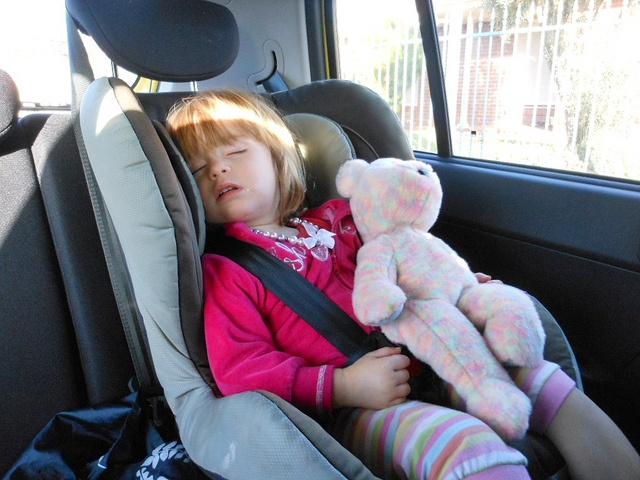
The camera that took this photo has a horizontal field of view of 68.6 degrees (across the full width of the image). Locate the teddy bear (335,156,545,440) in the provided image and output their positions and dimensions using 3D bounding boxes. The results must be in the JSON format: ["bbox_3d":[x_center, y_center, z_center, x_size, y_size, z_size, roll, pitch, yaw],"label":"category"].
[{"bbox_3d":[0.300,0.084,1.235,0.428,0.559,0.815,-2,11,-14],"label":"teddy bear"}]
